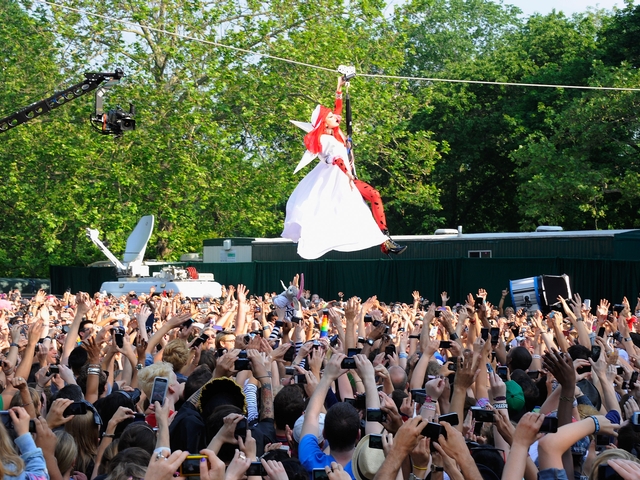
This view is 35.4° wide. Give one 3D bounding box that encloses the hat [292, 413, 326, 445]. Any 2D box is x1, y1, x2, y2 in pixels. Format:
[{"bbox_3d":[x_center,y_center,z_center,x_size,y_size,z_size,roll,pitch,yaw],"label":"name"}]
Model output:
[{"bbox_3d":[-0.152,2.488,13.395,0.292,0.421,0.422,-1,-23,3],"label":"hat"}]
